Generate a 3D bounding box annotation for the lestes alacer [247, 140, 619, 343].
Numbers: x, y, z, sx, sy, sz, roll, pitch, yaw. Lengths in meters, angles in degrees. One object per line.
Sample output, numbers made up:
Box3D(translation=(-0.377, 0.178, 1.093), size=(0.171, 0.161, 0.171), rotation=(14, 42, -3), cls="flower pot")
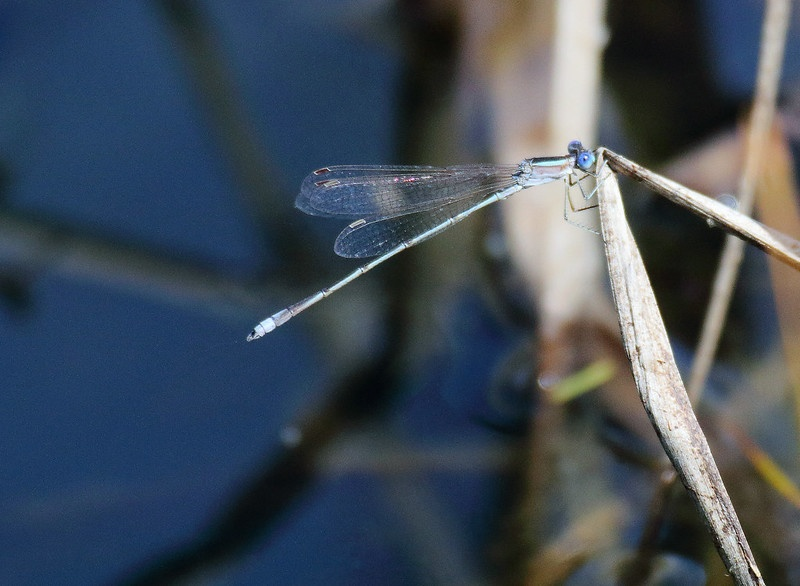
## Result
Box3D(translation=(0.039, -0.194, 2.429), size=(1.001, 0.446, 0.289), rotation=(-25, -43, -10), cls="lestes alacer")
